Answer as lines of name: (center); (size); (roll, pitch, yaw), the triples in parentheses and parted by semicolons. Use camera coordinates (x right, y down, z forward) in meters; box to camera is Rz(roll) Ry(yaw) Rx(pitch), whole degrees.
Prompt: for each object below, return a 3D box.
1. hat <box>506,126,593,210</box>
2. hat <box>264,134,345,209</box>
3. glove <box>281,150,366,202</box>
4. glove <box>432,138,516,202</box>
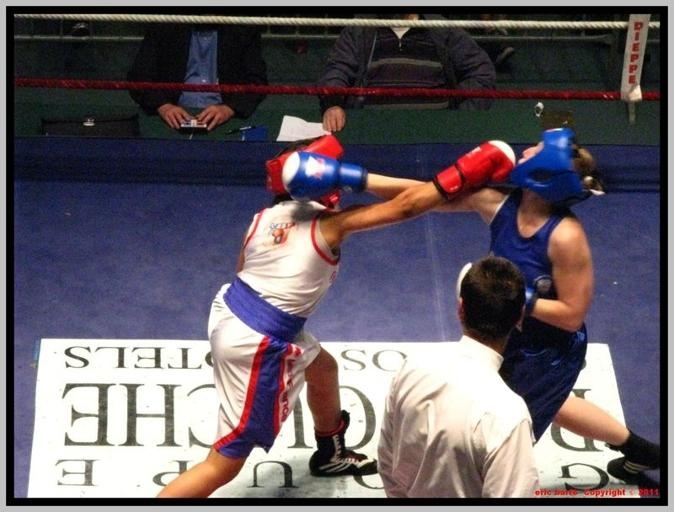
hat: (1.001, -0.412, 3.324); (0.474, 0.319, 0.294); (-3, 30, -3)
hat: (-0.177, -0.437, 3.539); (0.499, 0.367, 0.329); (2, 16, -1)
glove: (-0.073, -0.375, 3.440); (0.416, 0.157, 0.215); (8, -3, -26)
glove: (0.688, -0.425, 3.532); (0.503, 0.219, 0.192); (-26, -31, -19)
